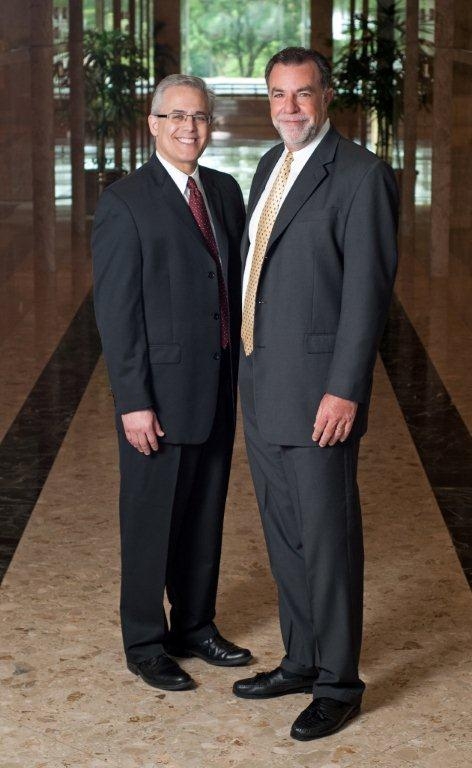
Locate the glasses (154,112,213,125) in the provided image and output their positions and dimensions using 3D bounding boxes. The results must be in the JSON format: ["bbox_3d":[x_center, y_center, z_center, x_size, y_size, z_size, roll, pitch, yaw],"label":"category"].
[{"bbox_3d":[-0.138,-0.654,1.794,0.137,0.030,0.057,1,9,1],"label":"glasses"}]

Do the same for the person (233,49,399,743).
[{"bbox_3d":[0.150,0.017,1.737,0.333,1.560,0.471,-6,12,-34],"label":"person"}]

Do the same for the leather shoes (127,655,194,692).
[{"bbox_3d":[-0.207,0.737,1.913,0.065,0.084,0.187,0,2,-43],"label":"leather shoes"}]

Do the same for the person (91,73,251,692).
[{"bbox_3d":[-0.117,0.002,1.949,0.326,1.587,0.462,9,13,41],"label":"person"}]

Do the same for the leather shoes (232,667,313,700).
[{"bbox_3d":[0.091,0.758,1.875,0.218,0.086,0.078,1,2,-6],"label":"leather shoes"}]

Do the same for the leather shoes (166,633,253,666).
[{"bbox_3d":[-0.079,0.755,2.099,0.232,0.103,0.088,0,-2,23],"label":"leather shoes"}]

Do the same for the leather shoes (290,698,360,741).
[{"bbox_3d":[0.205,0.750,1.660,0.160,0.065,0.058,2,2,-44],"label":"leather shoes"}]
